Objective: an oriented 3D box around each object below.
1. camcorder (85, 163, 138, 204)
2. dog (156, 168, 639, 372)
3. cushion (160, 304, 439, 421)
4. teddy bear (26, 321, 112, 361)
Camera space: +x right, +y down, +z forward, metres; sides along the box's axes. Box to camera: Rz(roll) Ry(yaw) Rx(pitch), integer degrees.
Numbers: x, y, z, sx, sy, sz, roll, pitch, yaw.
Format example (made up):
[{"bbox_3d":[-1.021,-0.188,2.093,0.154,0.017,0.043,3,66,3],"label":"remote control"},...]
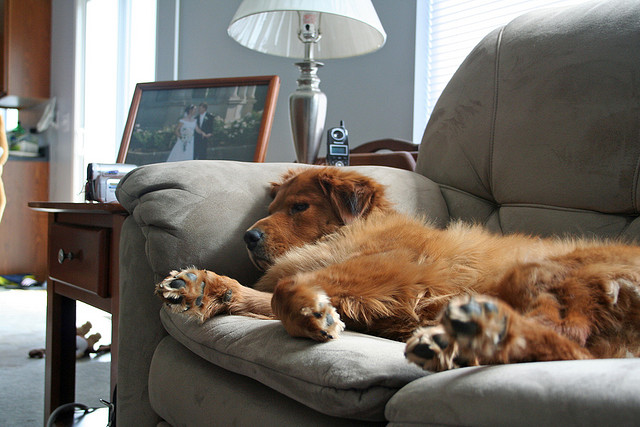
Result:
[{"bbox_3d":[-0.760,-0.111,2.149,0.179,0.161,0.097,0,-5,11],"label":"camcorder"},{"bbox_3d":[0.230,0.131,1.262,0.727,0.233,0.517,5,-17,-3],"label":"dog"},{"bbox_3d":[-0.053,0.273,1.249,0.411,0.101,0.271,21,-10,31],"label":"cushion"},{"bbox_3d":[-1.137,0.603,2.646,0.067,0.194,0.157,-10,-42,28],"label":"teddy bear"}]
